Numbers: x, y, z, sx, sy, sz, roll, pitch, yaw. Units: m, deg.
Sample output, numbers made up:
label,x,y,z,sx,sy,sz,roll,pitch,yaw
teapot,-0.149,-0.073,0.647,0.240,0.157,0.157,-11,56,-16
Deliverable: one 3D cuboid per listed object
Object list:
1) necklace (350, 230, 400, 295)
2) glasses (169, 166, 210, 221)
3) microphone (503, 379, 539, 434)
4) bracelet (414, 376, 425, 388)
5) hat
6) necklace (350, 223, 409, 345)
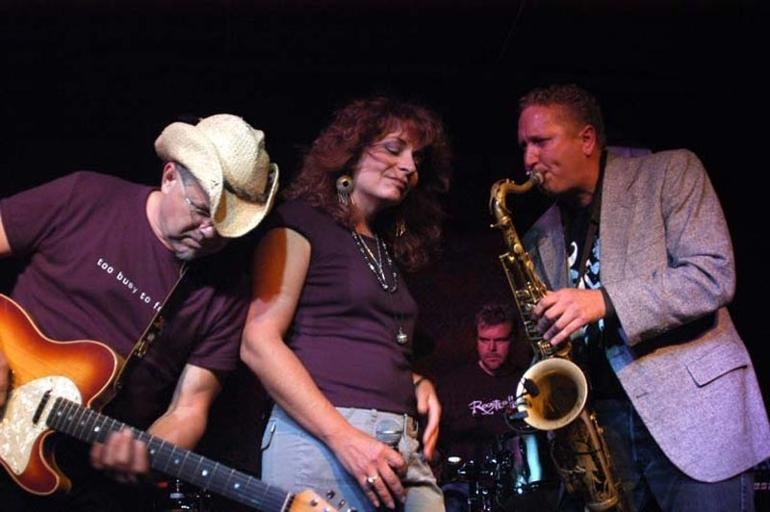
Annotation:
label,x,y,z,sx,sy,sz,roll,pitch,yaw
necklace,-0.051,0.017,3.207,0.183,0.308,0.086,21,-49,-38
glasses,-0.825,-0.328,3.028,0.084,0.209,0.156,-35,-18,5
microphone,0.667,0.724,3.433,0.084,0.264,0.195,6,-14,13
bracelet,0.162,0.586,3.307,0.040,0.010,0.042,-16,15,43
hat,-0.767,-0.506,3.171,0.601,0.415,0.750,25,5,-34
necklace,-0.036,0.068,3.188,0.179,0.651,0.071,10,-48,-27
